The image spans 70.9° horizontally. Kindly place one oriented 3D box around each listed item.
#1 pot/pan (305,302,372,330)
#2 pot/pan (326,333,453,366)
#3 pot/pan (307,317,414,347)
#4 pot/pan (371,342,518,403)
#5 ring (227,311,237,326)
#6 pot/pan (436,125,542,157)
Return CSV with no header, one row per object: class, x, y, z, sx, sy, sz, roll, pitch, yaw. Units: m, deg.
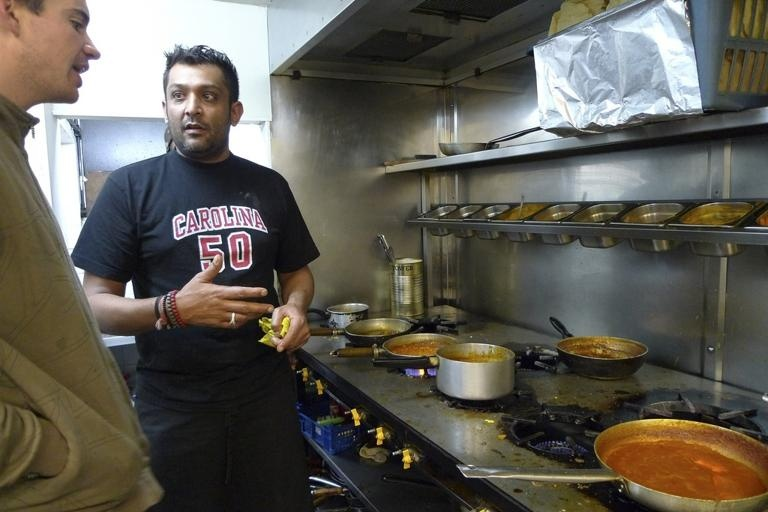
pot/pan,-0.205,0.308,2.858,0.260,0.077,0.139,-5,8,-21
pot/pan,0.074,0.399,2.351,0.350,0.049,0.190,-3,6,-14
pot/pan,-0.092,0.357,2.649,0.341,0.040,0.190,-4,6,-27
pot/pan,0.325,0.435,2.027,0.305,0.172,0.302,-2,6,1
ring,-0.484,0.203,1.739,0.011,0.037,0.037,7,4,-2
pot/pan,0.551,-0.534,2.536,0.318,0.108,0.549,-6,7,-36
